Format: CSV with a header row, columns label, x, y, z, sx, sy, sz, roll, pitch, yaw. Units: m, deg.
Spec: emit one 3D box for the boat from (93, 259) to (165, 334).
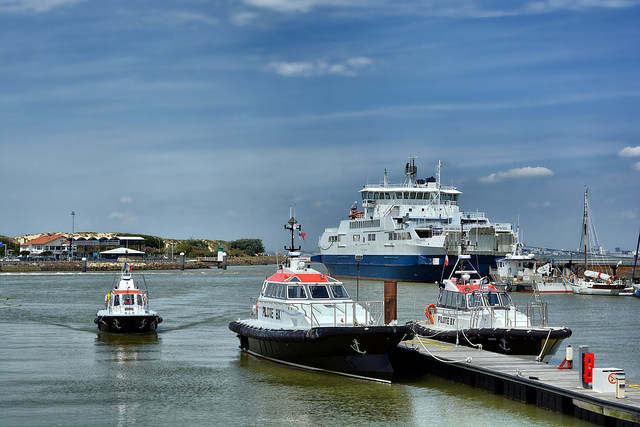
label,x,y,z,sx,sy,sz,roll,pitch,yaw
boat,-13.662,6.171,77.507,3.015,2.979,6.830,1,0,-16
